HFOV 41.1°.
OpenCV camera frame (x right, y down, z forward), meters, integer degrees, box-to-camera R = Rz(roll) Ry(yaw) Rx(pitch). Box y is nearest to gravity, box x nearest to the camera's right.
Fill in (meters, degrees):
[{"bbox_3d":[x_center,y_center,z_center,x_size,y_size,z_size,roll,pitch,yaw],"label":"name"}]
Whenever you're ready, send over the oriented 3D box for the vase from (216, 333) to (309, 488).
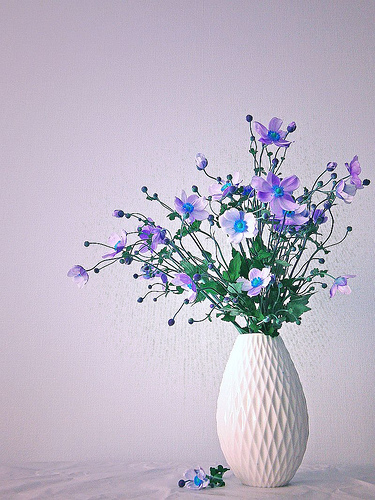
[{"bbox_3d":[0.134,0.281,0.884,0.148,0.263,0.075,2,-16,9],"label":"vase"}]
